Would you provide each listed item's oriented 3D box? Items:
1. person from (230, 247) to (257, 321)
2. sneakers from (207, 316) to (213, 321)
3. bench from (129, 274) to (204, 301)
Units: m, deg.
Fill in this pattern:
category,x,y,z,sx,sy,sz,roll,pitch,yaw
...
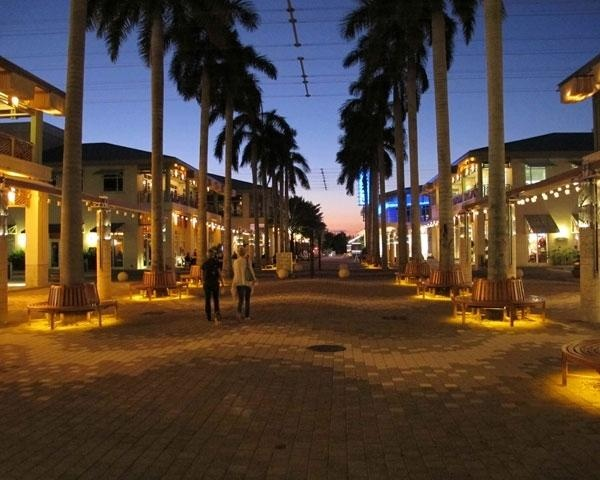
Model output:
category,x,y,z,sx,sy,sz,roll,pitch,yaw
person,-1.675,1.227,15.224,0.644,1.715,2.556,0,0,-7
sneakers,-2.515,2.156,14.267,0.101,0.130,0.105,-1,-4,6
bench,-5.703,1.816,21.356,2.196,1.059,2.931,-1,0,-12
